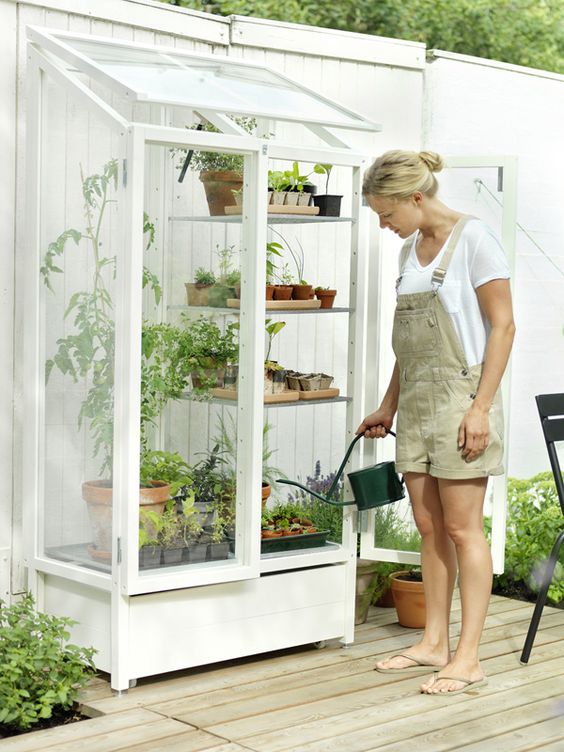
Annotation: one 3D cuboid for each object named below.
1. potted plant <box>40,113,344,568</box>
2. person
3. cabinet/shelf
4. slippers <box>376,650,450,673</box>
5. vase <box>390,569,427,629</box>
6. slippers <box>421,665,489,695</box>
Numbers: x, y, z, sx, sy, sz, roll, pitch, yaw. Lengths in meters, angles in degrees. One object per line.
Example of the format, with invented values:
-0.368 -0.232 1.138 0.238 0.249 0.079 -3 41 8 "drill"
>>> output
-0.313 -0.052 2.837 0.792 1.309 0.569 2 -2 -40 "potted plant"
0.501 0.134 2.691 0.447 1.655 0.489 0 -2 12 "person"
-0.055 -0.040 2.991 1.716 2.022 1.046 1 4 -25 "cabinet/shelf"
0.434 0.935 2.783 0.236 0.057 0.080 3 -2 -5 "slippers"
0.488 0.873 3.325 0.212 0.158 0.213 0 -1 -12 "vase"
0.521 0.930 2.573 0.168 0.038 0.073 2 -2 -14 "slippers"
